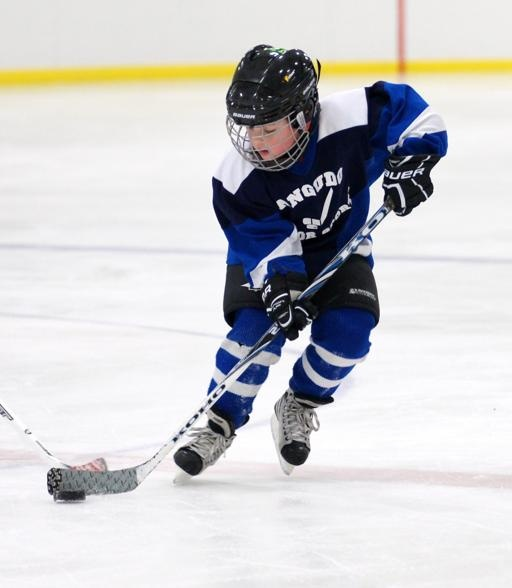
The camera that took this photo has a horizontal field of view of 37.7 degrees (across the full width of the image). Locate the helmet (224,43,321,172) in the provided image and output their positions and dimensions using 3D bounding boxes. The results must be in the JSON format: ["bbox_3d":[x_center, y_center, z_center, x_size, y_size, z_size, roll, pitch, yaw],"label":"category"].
[{"bbox_3d":[0.058,-0.451,1.783,0.272,0.314,0.173,-4,6,-23],"label":"helmet"}]

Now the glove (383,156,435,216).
[{"bbox_3d":[0.361,-0.260,1.791,0.135,0.137,0.109,0,5,18],"label":"glove"}]

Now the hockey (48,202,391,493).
[{"bbox_3d":[-0.112,0.166,2.144,1.396,0.153,0.188,-33,20,-8],"label":"hockey"}]

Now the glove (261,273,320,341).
[{"bbox_3d":[0.072,0.025,1.761,0.083,0.122,0.162,-12,23,-4],"label":"glove"}]

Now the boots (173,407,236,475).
[{"bbox_3d":[-0.117,0.353,1.783,0.099,0.086,0.188,34,28,8],"label":"boots"}]
